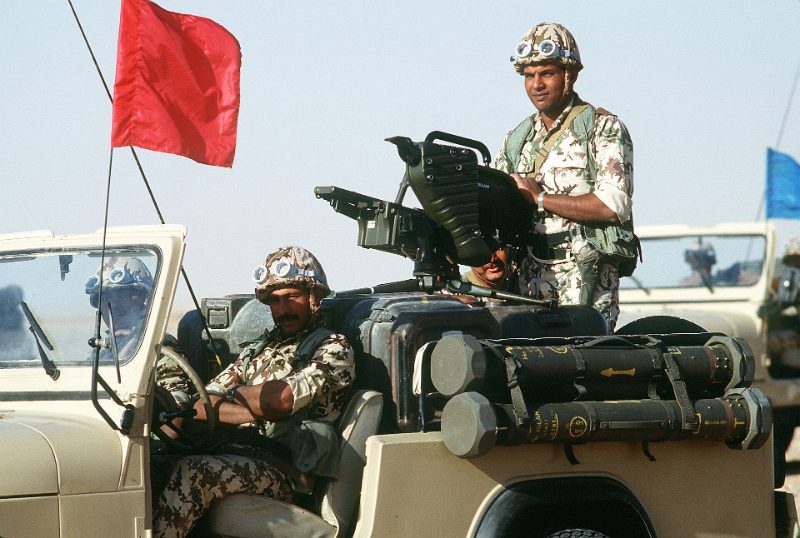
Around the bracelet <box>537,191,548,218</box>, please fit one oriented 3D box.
[{"bbox_3d":[0.889,-0.411,8.334,0.069,0.149,0.264,-3,-3,7],"label":"bracelet"}]

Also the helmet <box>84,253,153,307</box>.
[{"bbox_3d":[-1.489,0.030,7.036,0.302,0.263,0.259,-13,7,-25],"label":"helmet"}]

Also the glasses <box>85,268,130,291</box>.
[{"bbox_3d":[-1.560,0.054,7.050,0.286,0.106,0.109,-6,-4,28],"label":"glasses"}]
